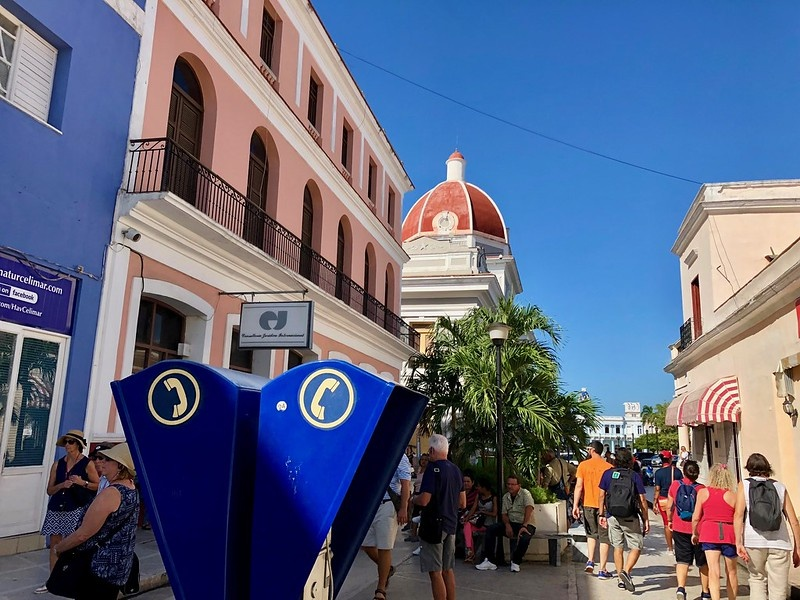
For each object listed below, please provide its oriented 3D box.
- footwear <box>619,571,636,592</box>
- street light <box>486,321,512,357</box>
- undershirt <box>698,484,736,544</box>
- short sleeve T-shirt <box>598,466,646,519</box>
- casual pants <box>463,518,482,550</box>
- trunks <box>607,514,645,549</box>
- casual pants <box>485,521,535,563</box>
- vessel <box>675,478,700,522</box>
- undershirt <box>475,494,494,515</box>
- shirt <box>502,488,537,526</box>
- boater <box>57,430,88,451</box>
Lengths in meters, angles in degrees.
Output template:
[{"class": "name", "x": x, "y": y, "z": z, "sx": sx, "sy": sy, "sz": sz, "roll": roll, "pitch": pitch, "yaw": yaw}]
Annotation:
[{"class": "footwear", "x": 3.311, "y": 4.084, "z": 8.418, "sx": 0.134, "sy": 0.334, "sz": 0.132, "roll": -29, "pitch": 10, "yaw": -37}, {"class": "street light", "x": 2.008, "y": 0.816, "z": 11.938, "sx": 0.559, "sy": 1.033, "sz": 0.603, "roll": 1, "pitch": -13, "yaw": -1}, {"class": "undershirt", "x": 4.072, "y": 2.781, "z": 7.432, "sx": 0.430, "sy": 0.689, "sz": 0.249, "roll": -8, "pitch": -19, "yaw": 31}, {"class": "short sleeve T-shirt", "x": 3.347, "y": 2.939, "z": 8.719, "sx": 0.769, "sy": 0.847, "sz": 0.452, "roll": 2, "pitch": -24, "yaw": 13}, {"class": "casual pants", "x": 1.283, "y": 4.147, "z": 10.124, "sx": 0.206, "sy": 0.742, "sz": 0.316, "roll": 0, "pitch": -24, "yaw": 19}, {"class": "trunks", "x": 3.482, "y": 3.694, "z": 8.860, "sx": 0.399, "sy": 0.791, "sz": 0.773, "roll": -7, "pitch": -15, "yaw": 19}, {"class": "casual pants", "x": 1.738, "y": 4.064, "z": 9.503, "sx": 0.566, "sy": 0.387, "sz": 0.807, "roll": 0, "pitch": -12, "yaw": 5}, {"class": "vessel", "x": 3.999, "y": 2.816, "z": 8.072, "sx": 0.346, "sy": 0.666, "sz": 0.385, "roll": 0, "pitch": -45, "yaw": 21}, {"class": "undershirt", "x": 1.564, "y": 3.727, "z": 10.490, "sx": 0.280, "sy": 0.386, "sz": 0.223, "roll": -6, "pitch": -50, "yaw": 20}, {"class": "shirt", "x": 2.020, "y": 3.548, "z": 9.810, "sx": 0.537, "sy": 0.544, "sz": 0.299, "roll": -20, "pitch": -52, "yaw": 36}, {"class": "boater", "x": -4.075, "y": 1.739, "z": 7.141, "sx": 0.333, "sy": 0.225, "sz": 0.398, "roll": 9, "pitch": -27, "yaw": -27}]
